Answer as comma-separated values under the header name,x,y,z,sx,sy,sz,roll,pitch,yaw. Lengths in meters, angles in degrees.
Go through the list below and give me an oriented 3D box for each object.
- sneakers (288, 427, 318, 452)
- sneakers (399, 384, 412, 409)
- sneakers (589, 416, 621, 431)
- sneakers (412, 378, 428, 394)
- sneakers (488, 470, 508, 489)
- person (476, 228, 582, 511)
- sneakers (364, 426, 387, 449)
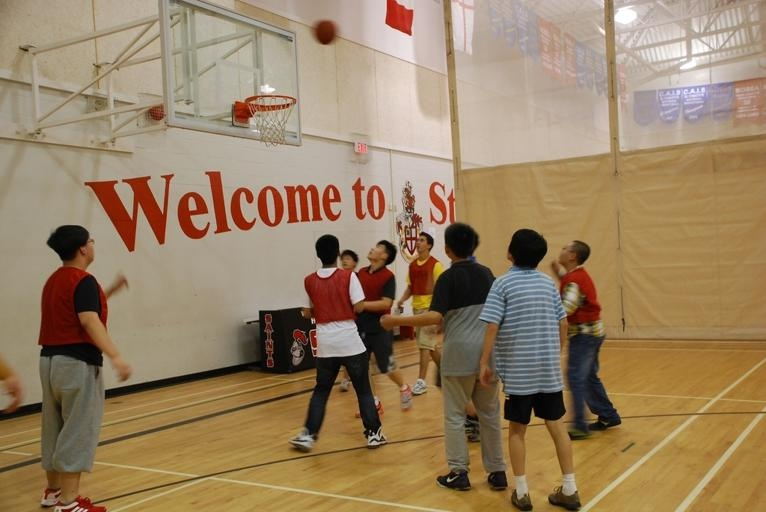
name,x,y,z,sx,sy,sz,roll,pitch,yaw
sneakers,-0.893,1.920,5.750,0.385,0.163,0.186,2,46,39
sneakers,0.275,1.800,6.982,0.111,0.339,0.147,-3,-4,43
sneakers,2.390,1.793,5.962,0.386,0.176,0.147,-3,1,-4
sneakers,0.500,1.816,7.612,0.122,0.184,0.279,-2,-4,30
sneakers,0.981,1.931,4.685,0.096,0.140,0.202,0,0,2
person,1.181,0.901,4.457,0.768,2.246,0.614,-2,2,11
sneakers,-0.071,1.919,5.811,0.122,0.149,0.317,-2,-3,14
